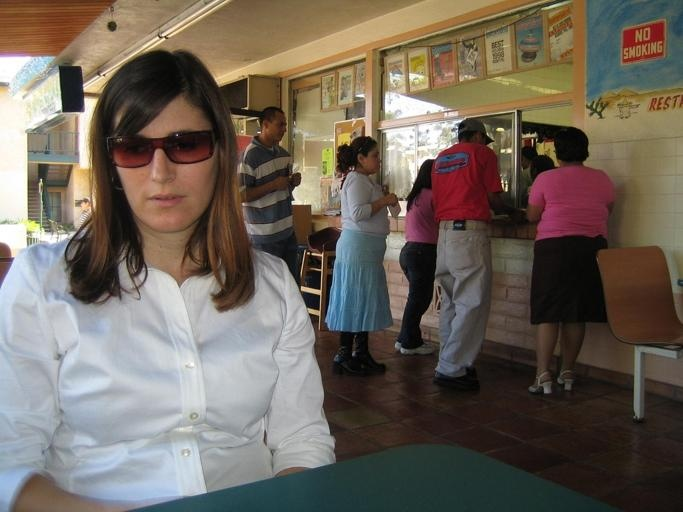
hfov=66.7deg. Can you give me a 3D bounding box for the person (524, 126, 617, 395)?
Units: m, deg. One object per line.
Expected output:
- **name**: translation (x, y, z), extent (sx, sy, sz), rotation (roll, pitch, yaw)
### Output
- **person**: translation (1.758, 0.041, 4.014), extent (0.608, 2.049, 0.362), rotation (2, 7, 23)

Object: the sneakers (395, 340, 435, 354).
- **sneakers**: translation (0.776, 0.925, 5.314), extent (0.405, 0.154, 0.136), rotation (-2, 2, -13)

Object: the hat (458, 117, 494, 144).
- **hat**: translation (1.199, -1.093, 4.554), extent (0.406, 0.192, 0.257), rotation (1, 4, -35)

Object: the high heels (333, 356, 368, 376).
- **high heels**: translation (0.123, 0.960, 4.557), extent (0.342, 0.138, 0.124), rotation (-1, 0, 21)

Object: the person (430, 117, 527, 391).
- **person**: translation (1.003, 0.061, 4.310), extent (0.559, 1.984, 0.491), rotation (3, 7, 30)

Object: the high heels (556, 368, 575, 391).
- **high heels**: translation (1.810, 0.987, 4.162), extent (0.083, 0.090, 0.224), rotation (-2, 2, 10)

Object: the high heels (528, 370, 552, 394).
- **high heels**: translation (1.575, 0.992, 4.093), extent (0.116, 0.119, 0.238), rotation (-3, -2, -8)

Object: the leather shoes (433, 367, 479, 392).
- **leather shoes**: translation (0.933, 1.010, 4.291), extent (0.412, 0.179, 0.147), rotation (-2, 3, 15)
